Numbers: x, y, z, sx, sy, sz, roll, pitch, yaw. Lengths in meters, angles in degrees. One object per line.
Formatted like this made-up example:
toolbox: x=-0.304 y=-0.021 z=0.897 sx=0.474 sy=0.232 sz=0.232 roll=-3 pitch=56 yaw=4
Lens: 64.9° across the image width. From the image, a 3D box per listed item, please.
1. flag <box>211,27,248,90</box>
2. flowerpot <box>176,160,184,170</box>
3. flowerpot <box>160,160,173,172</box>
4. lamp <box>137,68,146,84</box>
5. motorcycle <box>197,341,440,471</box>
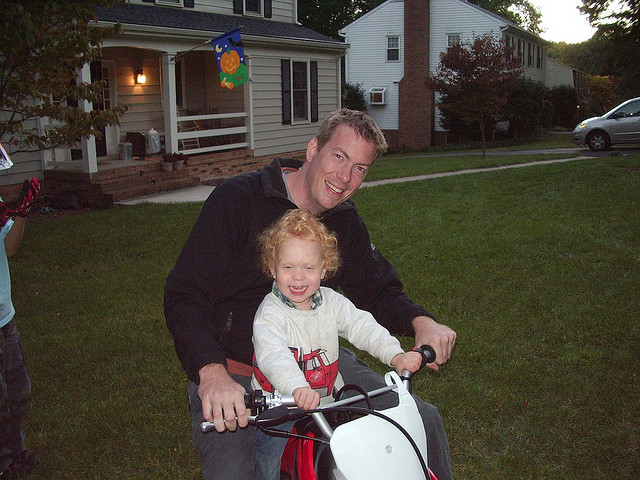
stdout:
flag: x=-2.612 y=-5.283 z=14.433 sx=0.897 sy=1.655 sz=0.746 roll=-3 pitch=10 yaw=-12
flowerpot: x=-4.255 y=-2.298 z=15.258 sx=0.209 sy=0.197 sz=0.237 roll=0 pitch=-2 yaw=20
flowerpot: x=-4.581 y=-2.216 z=15.030 sx=0.292 sy=0.244 sz=0.310 roll=0 pitch=-6 yaw=6
lamp: x=-6.086 y=-5.569 z=17.103 sx=0.122 sy=0.455 sz=0.370 roll=2 pitch=10 yaw=21
motorcycle: x=0.062 y=0.901 z=2.810 sx=0.758 sy=0.668 sz=0.978 roll=-23 pitch=-3 yaw=-31
